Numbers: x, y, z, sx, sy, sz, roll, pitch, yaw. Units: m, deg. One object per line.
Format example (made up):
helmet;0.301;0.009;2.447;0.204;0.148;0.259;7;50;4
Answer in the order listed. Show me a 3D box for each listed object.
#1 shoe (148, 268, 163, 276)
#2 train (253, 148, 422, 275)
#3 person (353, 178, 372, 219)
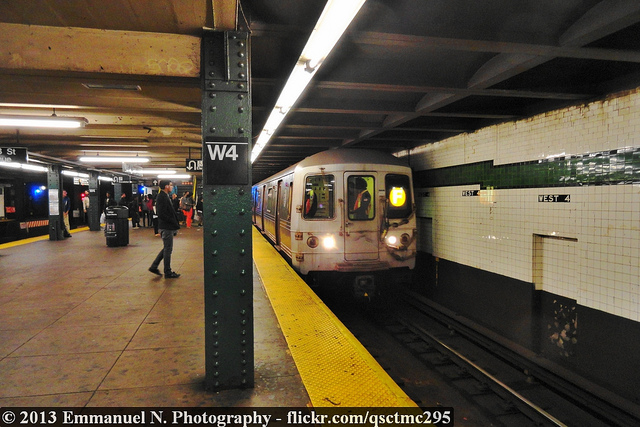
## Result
shoe;-3.864;1.373;9.319;0.111;0.136;0.333;28;0;42
train;0.771;-0.004;9.495;2.997;2.951;1.564;-3;13;3
person;0.997;-0.367;9.413;0.449;0.928;0.328;-4;13;-1
